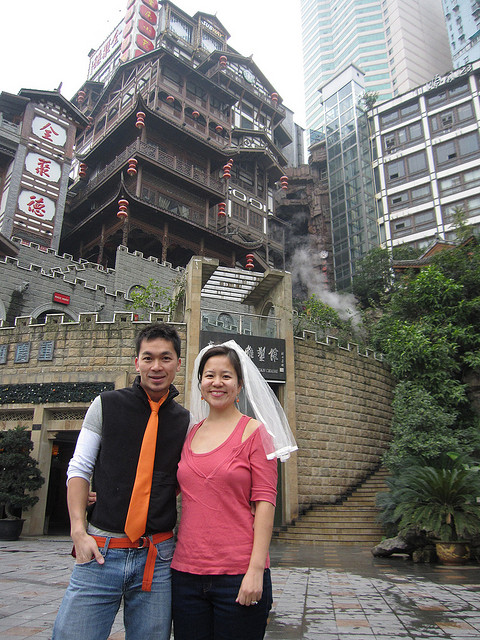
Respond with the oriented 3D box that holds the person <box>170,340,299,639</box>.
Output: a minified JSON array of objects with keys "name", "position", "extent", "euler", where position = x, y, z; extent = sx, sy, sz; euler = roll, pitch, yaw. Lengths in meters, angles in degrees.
[{"name":"person","position":[-0.029,0.613,1.857],"extent":[0.524,1.136,0.591],"euler":[-3,-11,7]}]

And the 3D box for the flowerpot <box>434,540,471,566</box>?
[{"name":"flowerpot","position":[3.688,4.047,7.710],"extent":[0.456,0.290,0.455],"euler":[21,-36,-26]}]

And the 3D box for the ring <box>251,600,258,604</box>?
[{"name":"ring","position":[0.047,0.964,1.510],"extent":[0.022,0.010,0.027],"euler":[3,-9,-5]}]

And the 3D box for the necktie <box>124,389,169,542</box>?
[{"name":"necktie","position":[-0.368,0.530,1.721],"extent":[0.099,0.597,0.070],"euler":[15,-29,-18]}]

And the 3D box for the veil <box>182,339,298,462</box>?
[{"name":"veil","position":[0.080,0.424,2.142],"extent":[0.539,0.644,0.298],"euler":[10,-8,-29]}]
